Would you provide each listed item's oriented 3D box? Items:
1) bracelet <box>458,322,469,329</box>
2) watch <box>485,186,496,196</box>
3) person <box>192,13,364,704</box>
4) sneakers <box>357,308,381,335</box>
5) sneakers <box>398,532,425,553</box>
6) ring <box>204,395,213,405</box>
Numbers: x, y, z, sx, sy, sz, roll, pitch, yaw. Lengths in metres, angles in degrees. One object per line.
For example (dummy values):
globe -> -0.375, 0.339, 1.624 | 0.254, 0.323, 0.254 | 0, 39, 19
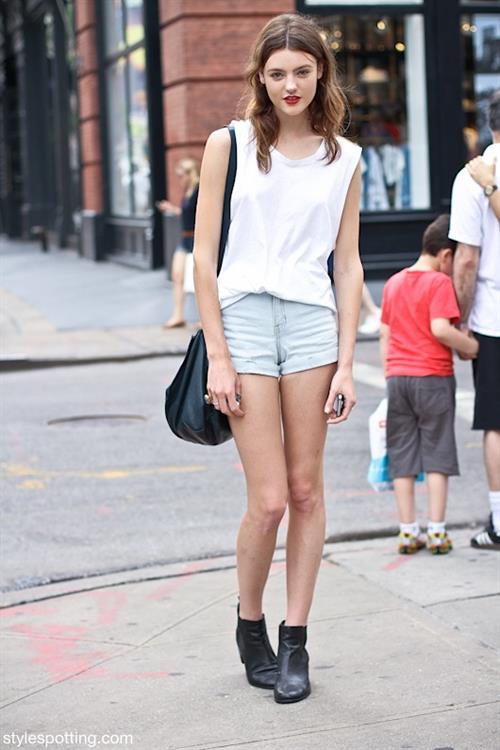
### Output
bracelet -> 0.848, -0.192, 3.665 | 0.031, 0.039, 0.024 | -9, 3, 44
watch -> 0.906, -0.698, 3.487 | 0.045, 0.029, 0.040 | -34, 2, 27
person -> 0.103, -0.053, 2.340 | 0.480, 1.713, 0.286 | -3, 5, -17
sneakers -> 1.304, -0.558, 10.015 | 0.196, 0.218, 0.526 | -1, 5, 10
sneakers -> 0.631, 0.658, 3.615 | 0.052, 0.057, 0.139 | 1, 3, 17
ring -> -0.100, 0.062, 2.256 | 0.011, 0.035, 0.014 | -7, 34, 10
